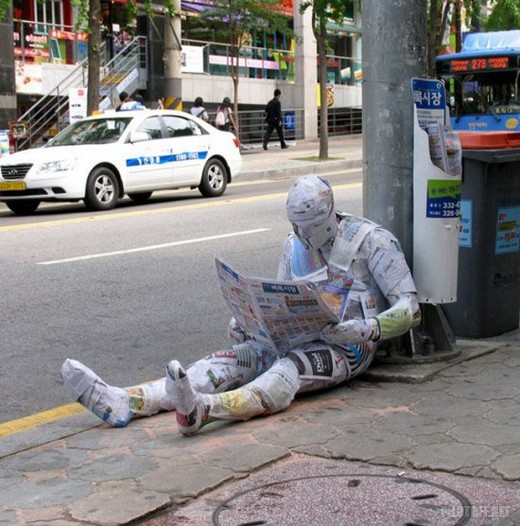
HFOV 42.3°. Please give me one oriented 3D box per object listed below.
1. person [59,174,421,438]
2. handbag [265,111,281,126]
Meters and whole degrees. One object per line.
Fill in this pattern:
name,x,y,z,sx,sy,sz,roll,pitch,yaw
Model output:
person,0.013,0.167,3.247,0.873,0.988,1.826,2,7,40
handbag,0.526,-5.630,26.366,0.496,0.371,0.375,-9,8,16
